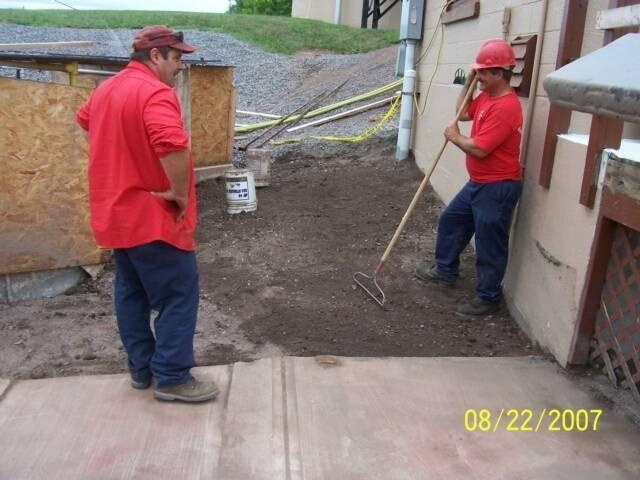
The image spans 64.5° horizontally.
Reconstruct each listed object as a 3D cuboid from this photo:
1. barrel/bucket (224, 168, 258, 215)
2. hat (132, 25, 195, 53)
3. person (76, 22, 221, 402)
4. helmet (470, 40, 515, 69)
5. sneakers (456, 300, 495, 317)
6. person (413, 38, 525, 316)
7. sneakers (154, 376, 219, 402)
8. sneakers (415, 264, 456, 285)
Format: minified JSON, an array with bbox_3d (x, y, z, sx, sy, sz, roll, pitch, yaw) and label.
[{"bbox_3d":[-1.216,-0.724,7.604,0.546,0.551,0.536,-1,9,0],"label":"barrel/bucket"},{"bbox_3d":[-1.034,-1.303,3.388,0.345,0.144,0.211,-7,21,-19],"label":"hat"},{"bbox_3d":[-1.134,-0.087,3.418,0.787,2.441,1.013,-7,28,-12],"label":"person"},{"bbox_3d":[1.573,-1.674,4.602,0.406,0.230,0.283,-1,30,8],"label":"helmet"},{"bbox_3d":[1.507,0.656,4.969,0.390,0.169,0.145,2,20,2],"label":"sneakers"},{"bbox_3d":[1.512,-0.569,4.845,0.762,2.428,1.120,-4,28,-5],"label":"person"},{"bbox_3d":[-0.933,1.053,3.537,0.384,0.144,0.190,0,10,-10],"label":"sneakers"},{"bbox_3d":[1.251,0.402,5.530,0.430,0.199,0.181,19,24,28],"label":"sneakers"}]
